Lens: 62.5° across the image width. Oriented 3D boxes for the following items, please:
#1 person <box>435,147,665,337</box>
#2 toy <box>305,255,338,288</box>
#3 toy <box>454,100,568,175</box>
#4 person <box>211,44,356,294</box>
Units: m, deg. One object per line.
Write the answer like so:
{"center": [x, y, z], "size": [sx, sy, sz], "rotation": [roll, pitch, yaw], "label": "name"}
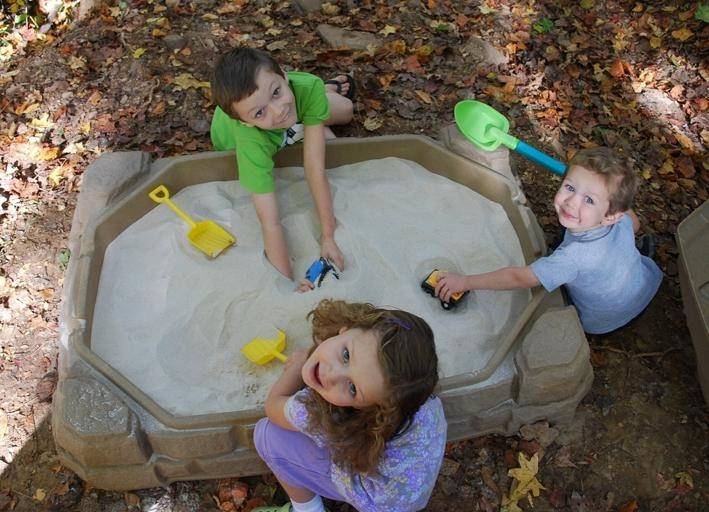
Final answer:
{"center": [0.934, -0.101, 3.227], "size": [1.256, 1.043, 0.744], "rotation": [2, 56, 14], "label": "person"}
{"center": [-0.173, 0.100, 3.328], "size": [0.148, 0.062, 0.181], "rotation": [37, 63, 20], "label": "toy"}
{"center": [1.017, -0.752, 3.820], "size": [0.953, 0.174, 0.257], "rotation": [38, 100, 28], "label": "toy"}
{"center": [-0.446, -0.661, 3.356], "size": [0.851, 0.975, 1.496], "rotation": [1, 57, 0], "label": "person"}
